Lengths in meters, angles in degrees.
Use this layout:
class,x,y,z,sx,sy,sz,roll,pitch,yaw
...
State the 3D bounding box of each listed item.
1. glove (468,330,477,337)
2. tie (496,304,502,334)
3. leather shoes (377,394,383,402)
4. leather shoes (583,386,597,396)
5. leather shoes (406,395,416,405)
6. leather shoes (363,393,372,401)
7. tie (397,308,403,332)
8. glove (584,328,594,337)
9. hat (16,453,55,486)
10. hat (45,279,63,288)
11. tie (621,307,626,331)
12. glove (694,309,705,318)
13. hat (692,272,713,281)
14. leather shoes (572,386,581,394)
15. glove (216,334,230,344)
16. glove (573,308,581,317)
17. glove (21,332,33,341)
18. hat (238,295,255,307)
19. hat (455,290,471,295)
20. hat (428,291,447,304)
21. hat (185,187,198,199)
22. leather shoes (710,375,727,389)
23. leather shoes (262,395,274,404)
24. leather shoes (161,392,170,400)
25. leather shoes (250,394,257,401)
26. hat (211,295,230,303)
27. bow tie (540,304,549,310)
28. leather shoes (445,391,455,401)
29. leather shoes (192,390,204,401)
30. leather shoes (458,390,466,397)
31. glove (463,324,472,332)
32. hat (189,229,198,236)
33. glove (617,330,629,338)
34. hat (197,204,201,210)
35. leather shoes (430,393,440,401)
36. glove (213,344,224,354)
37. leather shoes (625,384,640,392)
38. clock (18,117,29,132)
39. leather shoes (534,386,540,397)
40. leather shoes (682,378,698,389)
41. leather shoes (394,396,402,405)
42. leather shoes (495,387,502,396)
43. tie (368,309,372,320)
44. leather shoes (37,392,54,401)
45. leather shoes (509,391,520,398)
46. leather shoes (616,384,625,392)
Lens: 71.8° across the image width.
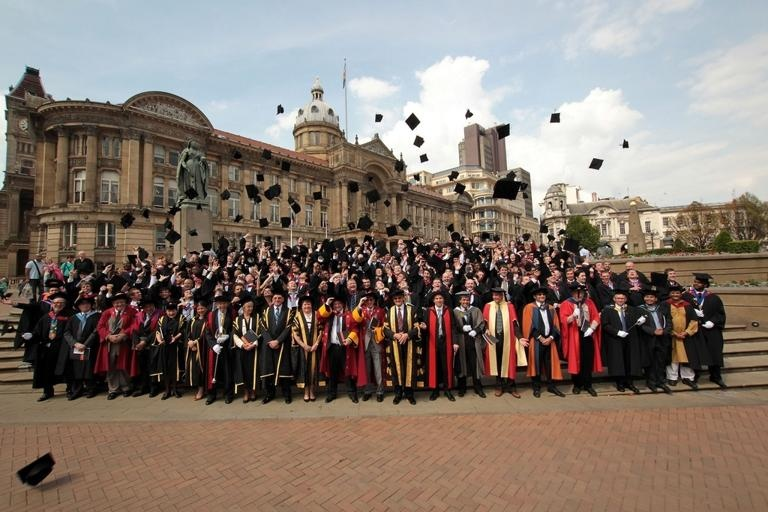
class,x,y,z,sx,sy,sz,roll,pitch,yaw
glove,2.470,2.128,14.589,0.202,0.173,0.092,-1,-5,-27
tie,3.254,1.804,14.851,0.183,0.709,0.140,-4,-5,19
leather shoes,-0.095,3.942,14.714,0.193,0.157,0.285,-3,-4,-2
leather shoes,5.798,3.771,14.756,0.277,0.218,0.325,-3,-4,-1
leather shoes,0.770,3.947,14.531,0.226,0.196,0.327,-3,-4,4
leather shoes,-0.462,3.922,14.791,0.253,0.186,0.308,-3,-4,-2
tie,0.483,1.714,14.625,0.166,0.616,0.086,-3,-5,7
glove,5.715,2.130,14.739,0.142,0.364,0.113,34,-6,27
hat,-7.794,4.812,11.896,0.730,0.679,0.394,-1,-5,-22
hat,-9.833,0.831,15.850,0.302,0.081,0.309,13,34,40
tie,6.802,1.783,14.959,0.243,0.606,0.095,1,-6,-43
glove,8.941,1.619,14.984,0.288,0.244,0.095,-2,-5,-12
hat,10.287,0.659,17.072,0.528,0.145,0.525,1,6,-11
leather shoes,5.392,3.754,14.794,0.228,0.199,0.249,-4,-5,18
glove,-4.475,2.323,14.838,0.207,0.248,0.273,-16,-29,25
glove,5.396,1.582,14.788,0.082,0.232,0.172,16,-10,-21
glove,-10.115,2.292,15.052,0.224,0.240,0.160,-4,-5,20
hat,-3.916,1.263,15.235,0.349,0.331,0.699,-1,-4,-19
hat,2.291,1.045,14.944,0.379,0.147,0.350,-1,-5,-27
hat,1.533,1.152,14.893,0.359,0.403,0.458,0,-10,5
hat,-8.415,-2.723,23.195,0.470,0.130,0.481,-21,-23,32
leather shoes,9.413,3.562,14.866,0.391,0.294,0.251,-5,-5,26
leather shoes,-3.236,4.020,14.742,0.338,0.125,0.225,6,-23,-45
leather shoes,-6.209,3.981,15.098,0.219,0.163,0.313,-1,-5,-22
leather shoes,-3.655,3.964,14.922,0.167,0.186,0.311,-2,-4,-14
hat,-4.595,1.212,15.072,0.392,0.227,0.324,-1,-4,-19
bow tie,4.554,1.414,14.881,0.322,0.149,0.136,0,-5,-36
leather shoes,1.850,3.856,14.733,0.282,0.290,0.514,-3,-4,6
leather shoes,-5.256,3.955,15.036,0.150,0.196,0.489,0,-22,-10
leather shoes,2.221,3.852,14.901,0.275,0.145,0.247,-3,-4,0
glove,2.326,1.987,14.624,0.228,0.204,0.122,-3,-4,9
hat,-8.194,-1.017,22.841,0.228,0.186,0.261,0,7,30
glove,6.647,2.173,14.736,0.213,0.082,0.213,-20,19,-13
hat,-8.142,-2.169,23.402,0.226,0.253,0.416,-1,-4,-22
leather shoes,1.432,3.868,14.735,0.148,0.242,0.456,-5,-5,29
glove,-4.634,2.601,14.795,0.234,0.266,0.208,-5,-5,24
leather shoes,6.981,3.707,14.821,0.343,0.222,0.292,-4,-4,11
clock,-37.532,-13.766,55.397,1.149,1.550,0.537,-3,-4,4
leather shoes,4.261,3.776,14.702,0.202,0.261,0.326,-4,-4,16
leather shoes,8.619,3.591,14.893,0.354,0.278,0.266,-5,-5,24
leather shoes,0.381,3.959,14.552,0.235,0.196,0.251,-3,-4,0
leather shoes,3.235,3.793,14.815,0.228,0.217,0.254,-4,-4,12
tie,-0.363,1.630,14.790,0.168,0.269,0.071,-3,-12,11
leather shoes,-9.651,4.022,15.119,0.365,0.211,0.276,-1,-5,-19
leather shoes,3.686,3.831,14.694,0.252,0.187,0.293,-2,-4,-7
leather shoes,6.658,3.693,14.838,0.235,0.196,0.257,-4,-4,18
